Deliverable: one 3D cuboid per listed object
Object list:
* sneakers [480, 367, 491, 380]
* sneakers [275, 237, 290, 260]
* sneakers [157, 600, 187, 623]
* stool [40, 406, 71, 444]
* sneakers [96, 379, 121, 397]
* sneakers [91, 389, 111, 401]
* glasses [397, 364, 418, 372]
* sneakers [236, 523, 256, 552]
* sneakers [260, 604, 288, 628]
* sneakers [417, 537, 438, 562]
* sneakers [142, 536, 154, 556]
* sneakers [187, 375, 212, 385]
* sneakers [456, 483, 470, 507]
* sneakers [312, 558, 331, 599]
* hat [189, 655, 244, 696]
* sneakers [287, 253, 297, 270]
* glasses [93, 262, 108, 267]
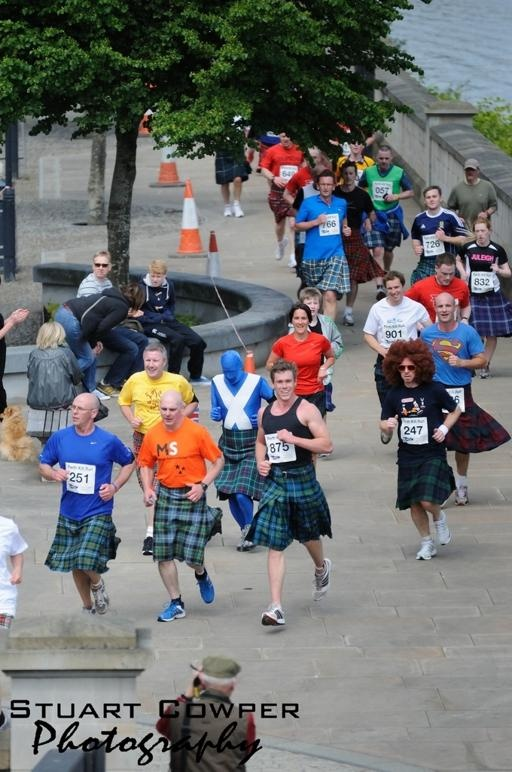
[{"bbox_3d":[2.624,-0.158,13.249,0.148,0.162,0.401,-1,4,14],"label":"sneakers"},{"bbox_3d":[0.466,-2.446,19.823,0.159,0.423,0.207,8,-21,7],"label":"sneakers"},{"bbox_3d":[-0.515,1.379,7.100,0.084,0.088,0.223,14,13,35],"label":"sneakers"},{"bbox_3d":[-1.817,0.324,10.450,0.269,0.263,0.108,-3,10,-1],"label":"stool"},{"bbox_3d":[-1.684,0.020,13.052,0.374,0.132,0.130,14,21,2],"label":"sneakers"},{"bbox_3d":[-1.723,0.075,12.850,0.149,0.154,0.304,-4,9,-5],"label":"sneakers"},{"bbox_3d":[1.065,-0.136,8.125,0.112,0.058,0.054,-2,10,7],"label":"glasses"},{"bbox_3d":[-0.088,1.150,8.620,0.132,0.205,0.360,0,0,13],"label":"sneakers"},{"bbox_3d":[0.109,1.369,6.869,0.085,0.094,0.206,-5,-18,15],"label":"sneakers"},{"bbox_3d":[1.221,1.168,8.232,0.096,0.115,0.227,2,10,18],"label":"sneakers"},{"bbox_3d":[-0.798,1.172,8.462,0.095,0.089,0.233,0,-1,-5],"label":"sneakers"},{"bbox_3d":[-0.669,-0.080,13.581,0.243,0.094,0.269,-3,9,-4],"label":"sneakers"},{"bbox_3d":[1.712,0.878,9.598,0.102,0.189,0.285,-2,9,10],"label":"sneakers"},{"bbox_3d":[0.434,1.226,7.394,0.107,0.254,0.129,8,9,19],"label":"sneakers"},{"bbox_3d":[-0.137,0.968,3.906,0.138,0.082,0.166,-2,9,-2],"label":"hat"},{"bbox_3d":[0.603,-2.097,19.238,0.135,0.199,0.357,0,1,-3],"label":"sneakers"},{"bbox_3d":[-1.641,-1.294,12.212,0.138,0.066,0.074,-4,9,-8],"label":"glasses"}]
